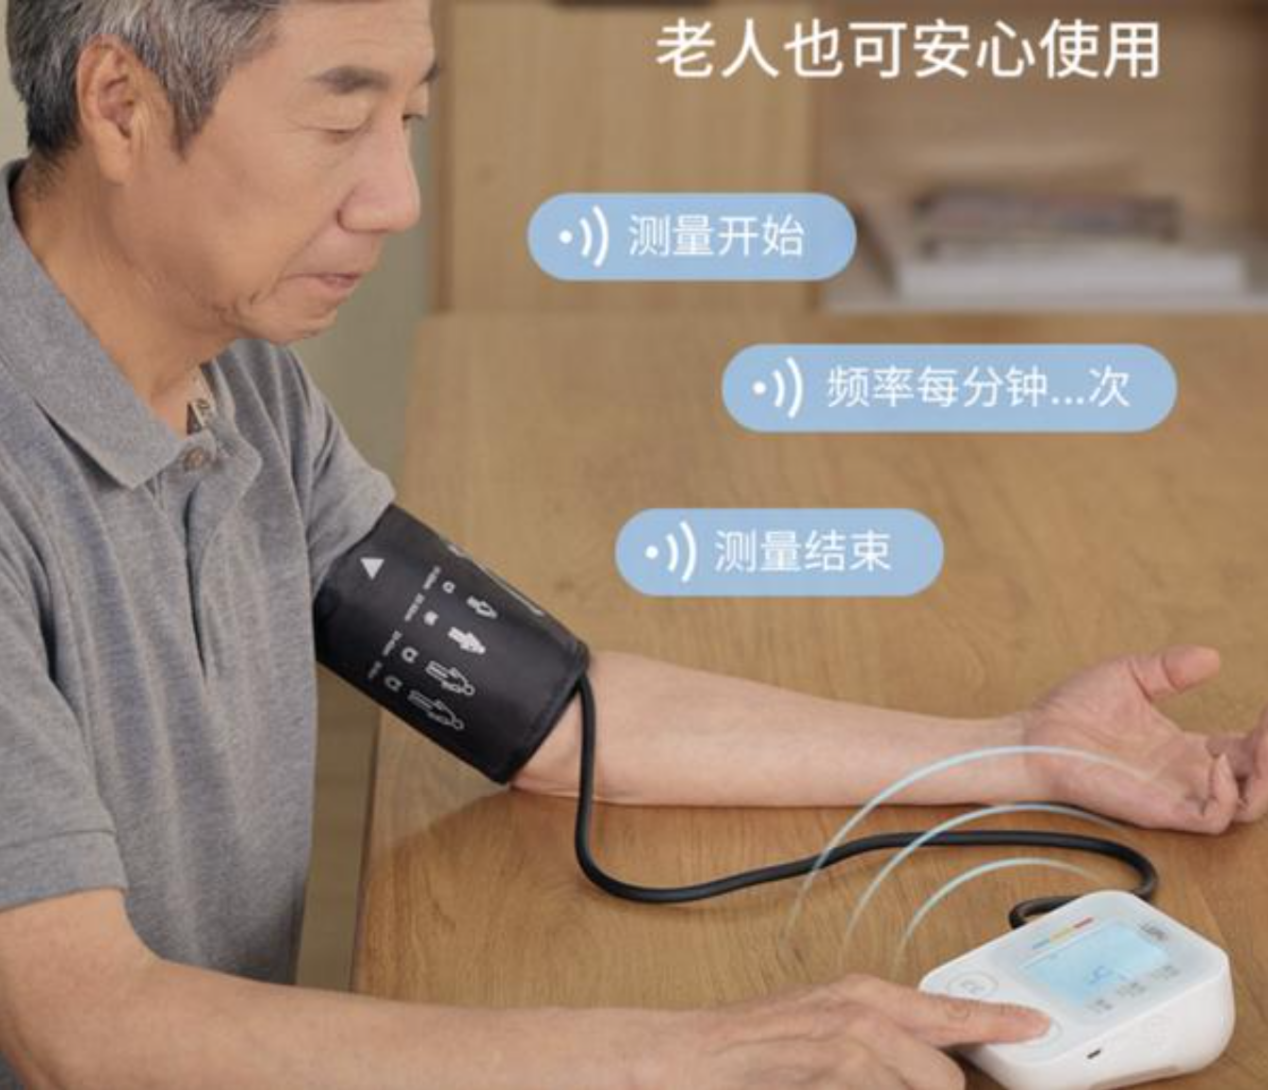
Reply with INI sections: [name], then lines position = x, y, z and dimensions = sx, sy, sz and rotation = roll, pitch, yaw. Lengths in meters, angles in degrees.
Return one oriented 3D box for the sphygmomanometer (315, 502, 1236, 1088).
[sphygmomanometer]
position = 0.063, 0.129, 1.102
dimensions = 0.654, 0.230, 0.227
rotation = 14, 34, 28
